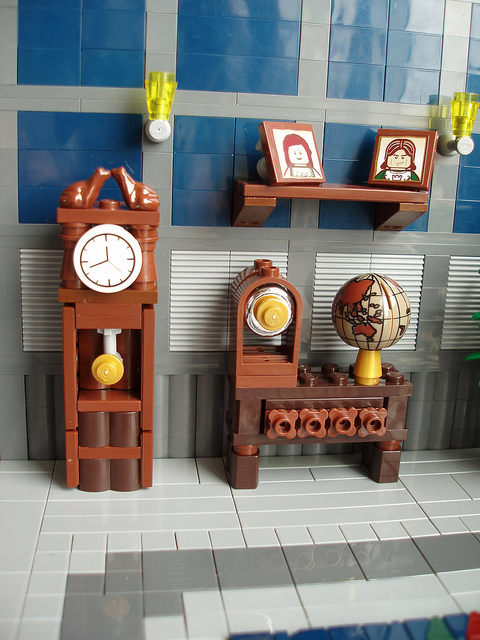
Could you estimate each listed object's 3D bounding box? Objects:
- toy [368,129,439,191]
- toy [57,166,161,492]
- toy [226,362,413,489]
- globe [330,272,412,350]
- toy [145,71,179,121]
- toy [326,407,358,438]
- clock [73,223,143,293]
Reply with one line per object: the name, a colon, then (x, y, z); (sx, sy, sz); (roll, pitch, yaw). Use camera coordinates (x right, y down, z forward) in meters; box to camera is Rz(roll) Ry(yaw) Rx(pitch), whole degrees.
toy: (0.630, -0.616, 2.304); (0.278, 0.236, 0.130); (4, 15, 20)
toy: (-0.460, 0.055, 2.173); (0.368, 1.283, 0.318); (0, 14, -13)
toy: (0.277, 0.421, 2.513); (0.917, 0.451, 0.375); (-2, 13, -17)
globe: (0.519, -0.025, 2.362); (0.312, 0.294, 0.281); (-2, 12, 6)
toy: (-0.278, -0.800, 2.165); (0.103, 0.166, 0.111); (-4, 18, -24)
toy: (0.400, 0.398, 2.337); (0.139, 0.113, 0.065); (-1, 10, -10)
clock: (-0.453, -0.212, 2.013); (0.288, 0.243, 0.030); (1, 13, -10)
